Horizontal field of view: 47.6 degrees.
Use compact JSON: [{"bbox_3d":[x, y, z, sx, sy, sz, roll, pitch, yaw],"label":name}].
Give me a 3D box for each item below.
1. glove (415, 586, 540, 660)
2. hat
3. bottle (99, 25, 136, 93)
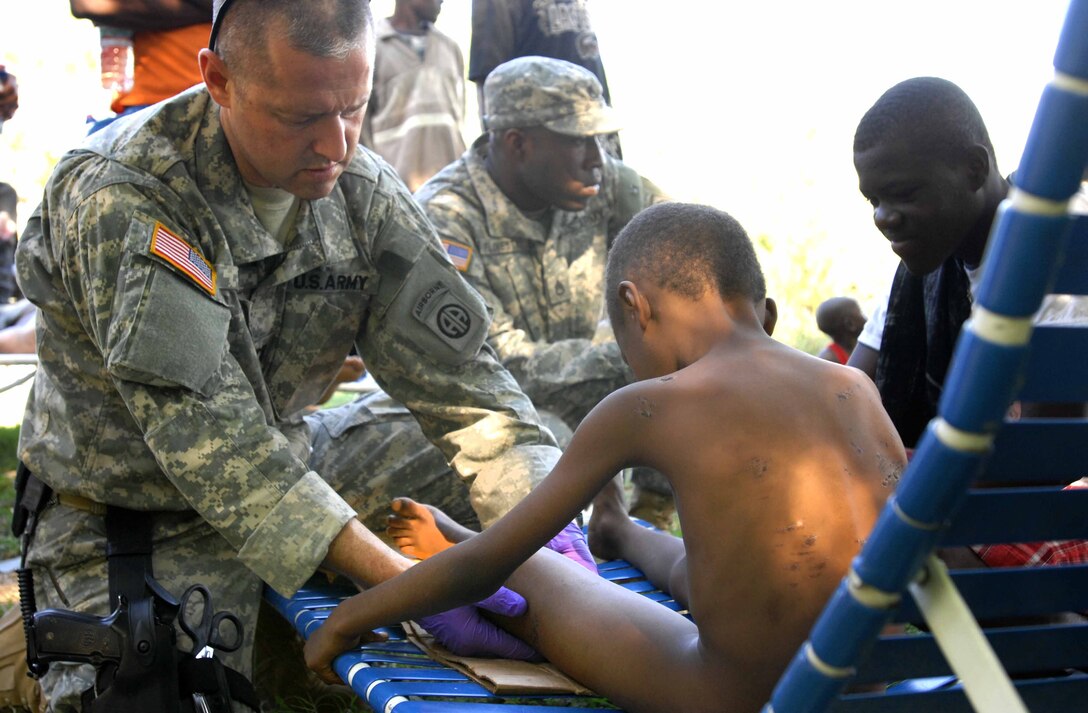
[{"bbox_3d":[-0.159,0.665,3.091,0.297,0.129,0.237,-6,16,-25],"label":"glove"},{"bbox_3d":[0.016,-1.000,4.751,0.440,0.211,0.320,3,10,11],"label":"hat"},{"bbox_3d":[-1.496,-1.035,4.315,0.098,0.215,0.240,-2,2,-22],"label":"bottle"}]
